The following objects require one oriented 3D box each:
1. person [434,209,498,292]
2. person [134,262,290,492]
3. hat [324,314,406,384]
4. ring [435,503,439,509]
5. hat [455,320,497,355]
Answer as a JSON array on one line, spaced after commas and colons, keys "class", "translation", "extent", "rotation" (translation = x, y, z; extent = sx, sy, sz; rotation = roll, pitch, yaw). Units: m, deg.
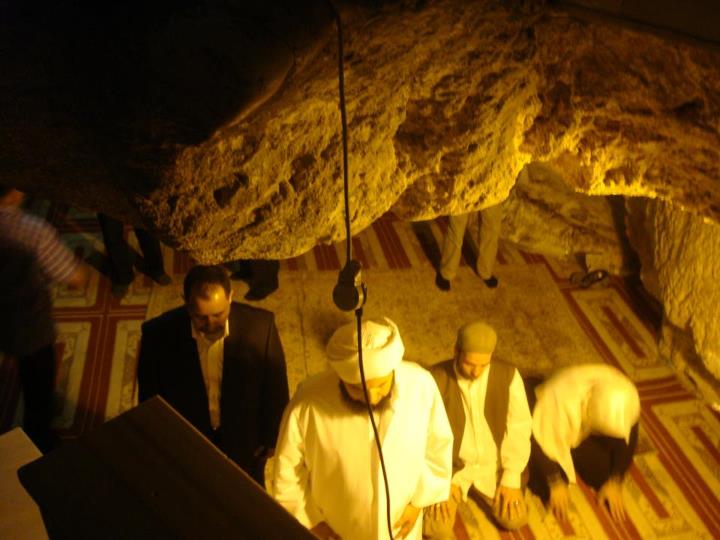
[{"class": "person", "translation": [1.097, -0.215, 6.214], "extent": [0.624, 0.858, 1.080], "rotation": [-1, -3, 8]}, {"class": "person", "translation": [-0.907, 0.974, 3.789], "extent": [0.873, 2.291, 0.577], "rotation": [-9, 33, -21]}, {"class": "hat", "translation": [0.024, 0.426, 3.168], "extent": [0.405, 0.225, 0.508], "rotation": [-6, 31, 2]}, {"class": "ring", "translation": [0.503, 1.538, 3.948], "extent": [0.021, 0.022, 0.005], "rotation": [18, -10, 42]}, {"class": "hat", "translation": [0.712, 0.369, 3.663], "extent": [0.153, 0.180, 0.223], "rotation": [1, 32, 2]}]
